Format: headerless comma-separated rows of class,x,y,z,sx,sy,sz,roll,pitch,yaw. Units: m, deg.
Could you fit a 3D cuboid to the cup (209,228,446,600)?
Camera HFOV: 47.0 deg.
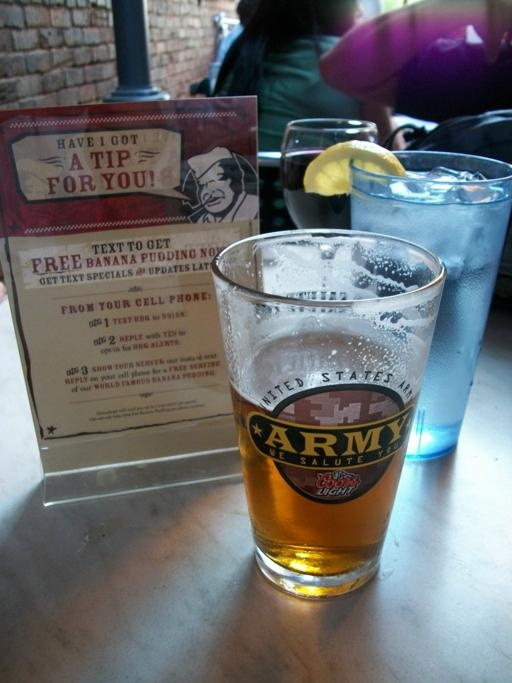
cup,0.041,0.038,0.388,0.131,0.203,0.159,9,30,16
